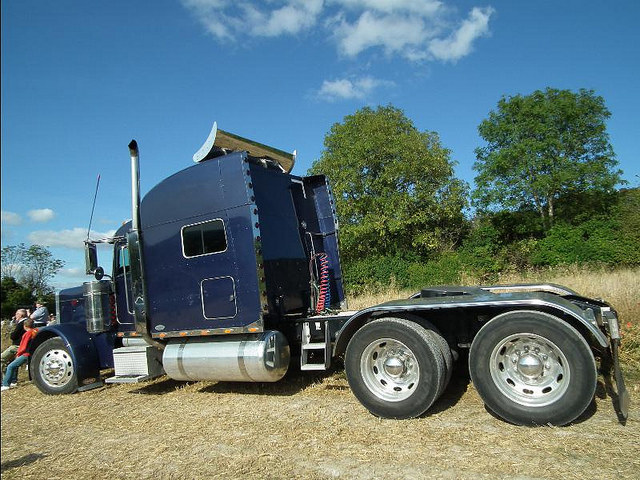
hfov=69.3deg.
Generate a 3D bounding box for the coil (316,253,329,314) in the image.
[{"bbox_3d":[0.027,0.736,8.107,0.182,0.983,0.620,-4,-1,6],"label":"coil"}]

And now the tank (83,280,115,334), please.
[{"bbox_3d":[-4.189,1.270,8.814,0.586,0.920,0.504,-4,-3,-15],"label":"tank"}]

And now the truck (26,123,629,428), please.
[{"bbox_3d":[-0.524,0.262,7.509,8.946,4.406,1.781,-5,-1,25],"label":"truck"}]

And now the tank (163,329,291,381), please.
[{"bbox_3d":[-1.489,1.395,7.287,1.964,0.846,0.897,-6,30,17],"label":"tank"}]

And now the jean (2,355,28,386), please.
[{"bbox_3d":[-6.492,2.775,9.815,0.806,0.575,0.322,-5,-1,45],"label":"jean"}]

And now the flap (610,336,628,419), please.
[{"bbox_3d":[3.483,1.616,5.392,0.127,1.003,0.643,-5,-1,31],"label":"flap"}]
